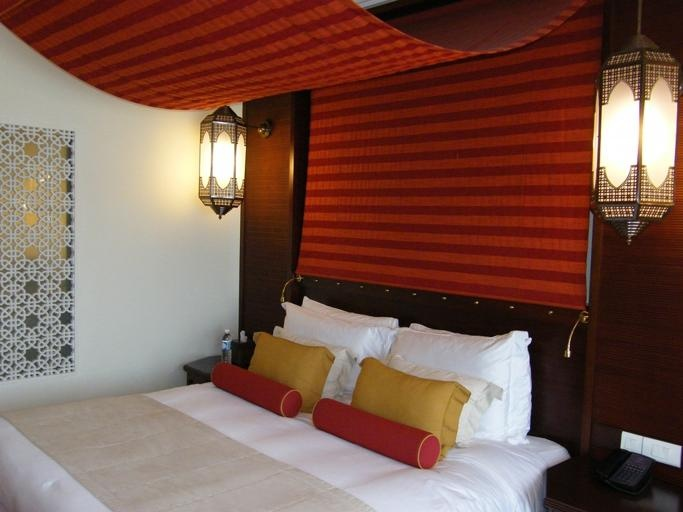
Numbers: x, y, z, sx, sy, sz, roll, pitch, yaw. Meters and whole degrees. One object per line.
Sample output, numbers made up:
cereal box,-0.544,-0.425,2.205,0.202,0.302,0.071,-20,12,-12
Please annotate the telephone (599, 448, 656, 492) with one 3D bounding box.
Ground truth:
telephone,1.331,1.000,2.295,0.162,0.047,0.161,-36,25,-33

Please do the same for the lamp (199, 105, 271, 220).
lamp,-0.927,-0.737,3.864,0.347,0.833,0.206,1,7,-16

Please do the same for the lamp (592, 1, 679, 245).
lamp,1.170,-0.485,1.950,0.311,0.858,0.168,6,7,24
